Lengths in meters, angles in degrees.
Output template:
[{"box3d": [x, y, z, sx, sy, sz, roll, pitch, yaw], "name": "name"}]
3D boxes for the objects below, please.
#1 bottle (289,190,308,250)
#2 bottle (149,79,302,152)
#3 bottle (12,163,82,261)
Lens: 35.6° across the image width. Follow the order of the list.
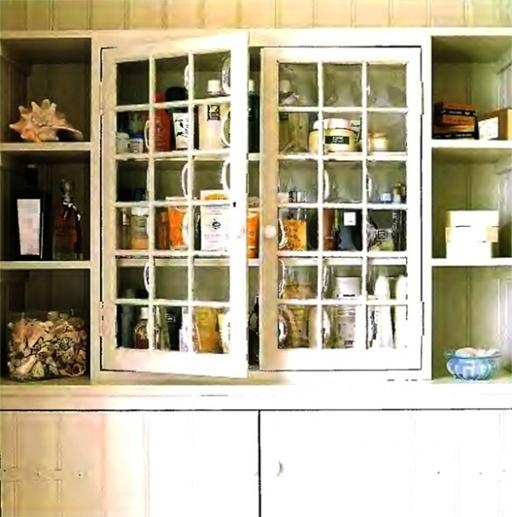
[{"box3d": [0.129, -0.107, 2.418, 0.061, 0.197, 0.042, 8, -8, -42], "name": "bottle"}, {"box3d": [-0.063, -0.436, 2.507, 0.354, 0.228, 0.089, 1, 7, -6], "name": "bottle"}, {"box3d": [-0.662, -0.138, 2.510, 0.246, 0.433, 0.132, 0, -3, -9], "name": "bottle"}]
